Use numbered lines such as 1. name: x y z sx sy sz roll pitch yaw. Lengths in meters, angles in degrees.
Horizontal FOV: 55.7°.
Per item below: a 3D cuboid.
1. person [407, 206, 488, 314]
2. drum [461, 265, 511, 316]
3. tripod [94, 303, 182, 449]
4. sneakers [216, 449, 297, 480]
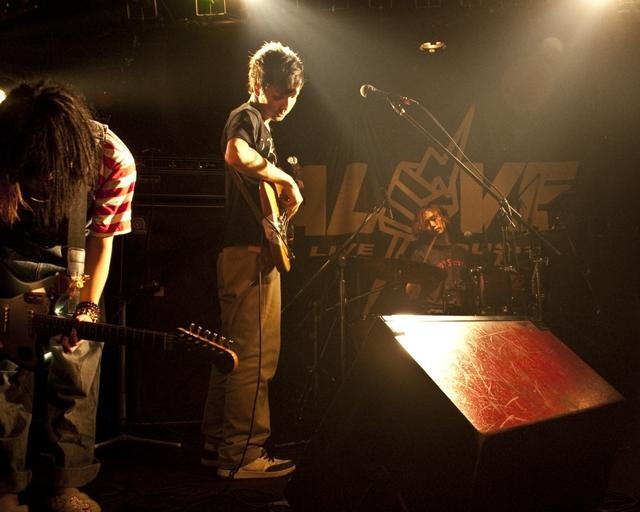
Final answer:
1. person: 0.941 0.010 4.862 0.466 0.950 0.300 -2 20 23
2. drum: 1.176 0.268 4.447 0.309 0.422 0.307 1 -12 0
3. tripod: -1.169 0.795 3.759 0.499 0.672 0.494 2 7 -10
4. sneakers: -0.302 1.054 3.189 0.476 0.226 0.183 1 -13 -12
